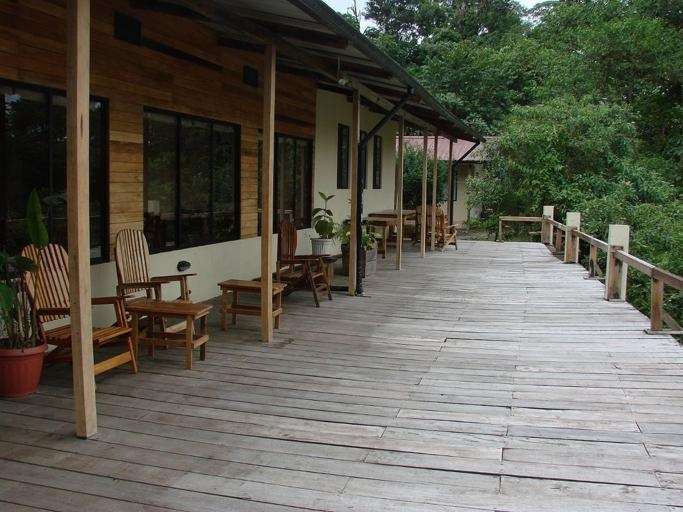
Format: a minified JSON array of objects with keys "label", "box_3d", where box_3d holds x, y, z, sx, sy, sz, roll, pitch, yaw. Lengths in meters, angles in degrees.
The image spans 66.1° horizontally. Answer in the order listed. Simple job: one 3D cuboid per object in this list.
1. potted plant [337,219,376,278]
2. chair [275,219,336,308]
[{"label":"potted plant","box_3d":[0.505,-0.152,10.124,1.023,1.153,0.955,2,7,22]},{"label":"chair","box_3d":[-0.568,0.010,8.263,0.829,1.184,2.442,0,9,-4]}]
